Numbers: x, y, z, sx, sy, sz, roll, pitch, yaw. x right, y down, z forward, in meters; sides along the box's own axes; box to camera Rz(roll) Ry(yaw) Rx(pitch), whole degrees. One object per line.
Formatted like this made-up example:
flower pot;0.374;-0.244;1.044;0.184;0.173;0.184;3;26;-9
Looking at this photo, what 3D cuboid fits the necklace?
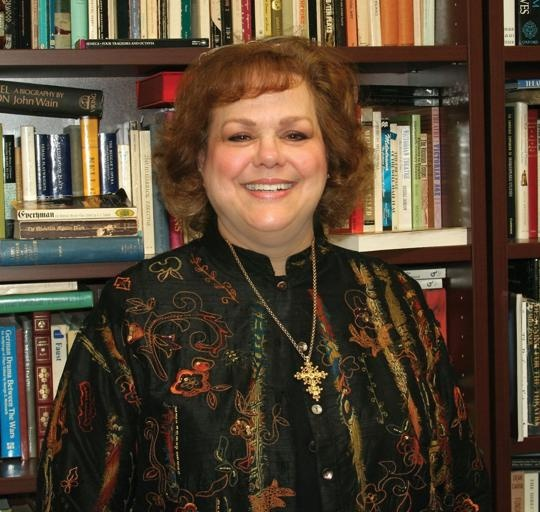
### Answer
necklace;0.028;0.104;1.397;0.144;0.336;0.016;-13;-22;-14
